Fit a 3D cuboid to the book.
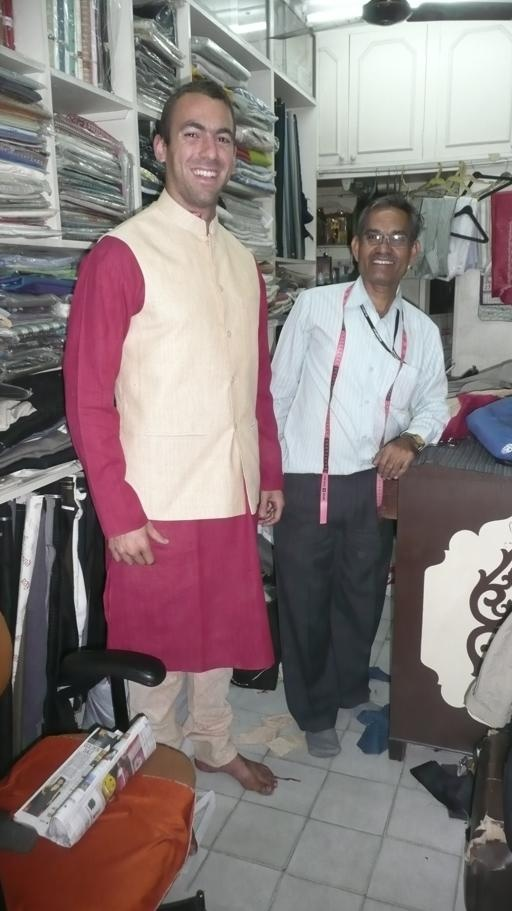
[{"bbox_3d":[-0.255,0.475,0.931,0.075,0.048,0.143,23,22,12],"label":"book"}]
